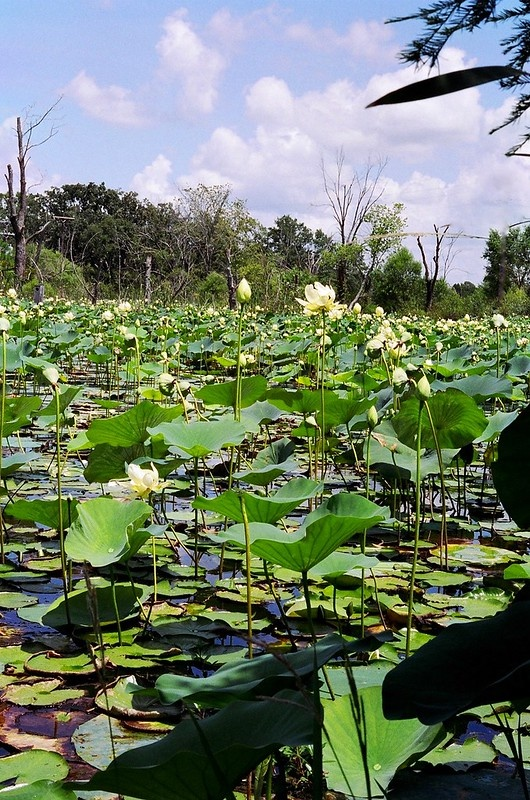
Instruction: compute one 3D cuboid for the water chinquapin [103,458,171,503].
[{"bbox_3d":[-0.532,0.331,2.756,0.310,0.183,0.362,-5,-4,-29],"label":"water chinquapin"}]
